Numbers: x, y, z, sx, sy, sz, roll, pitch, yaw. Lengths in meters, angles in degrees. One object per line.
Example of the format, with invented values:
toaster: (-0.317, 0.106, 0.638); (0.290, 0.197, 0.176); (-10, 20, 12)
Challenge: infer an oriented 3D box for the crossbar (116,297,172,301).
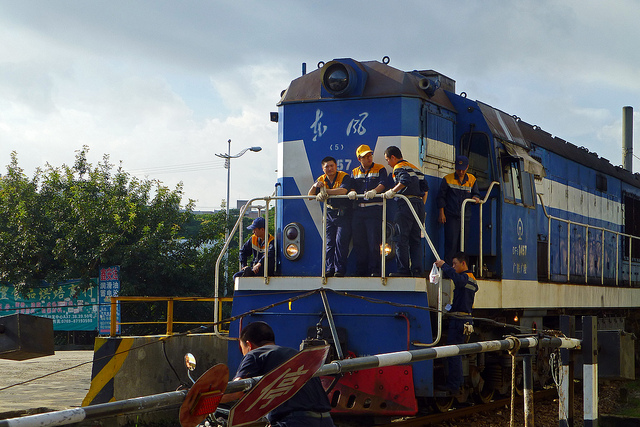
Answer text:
crossbar: (-3.514, 1.705, 14.493); (1.027, 0.077, 1.208); (2, -9, -11)

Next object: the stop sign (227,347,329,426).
stop sign: (-0.428, 1.873, 7.772); (1.317, 0.134, 0.974); (-43, -13, -5)

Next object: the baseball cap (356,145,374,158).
baseball cap: (0.737, -1.022, 11.979); (0.240, 0.227, 0.305); (0, -8, 2)

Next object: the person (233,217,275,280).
person: (-1.112, 0.646, 12.592); (0.591, 1.123, 0.765); (1, 2, 41)

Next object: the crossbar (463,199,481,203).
crossbar: (2.574, -0.200, 12.100); (0.229, 0.043, 0.409); (-3, -9, 22)

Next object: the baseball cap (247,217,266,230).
baseball cap: (-1.117, 0.177, 12.729); (0.317, 0.214, 0.226); (2, 5, 1)

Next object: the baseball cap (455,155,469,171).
baseball cap: (2.437, -0.850, 12.283); (0.248, 0.221, 0.435); (5, 9, 14)

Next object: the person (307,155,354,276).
person: (0.233, 0.060, 11.782); (0.662, 1.934, 0.535); (0, -8, 0)

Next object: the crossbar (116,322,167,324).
crossbar: (-4.402, 2.768, 18.248); (0.819, 0.039, 7.522); (2, -9, -12)
